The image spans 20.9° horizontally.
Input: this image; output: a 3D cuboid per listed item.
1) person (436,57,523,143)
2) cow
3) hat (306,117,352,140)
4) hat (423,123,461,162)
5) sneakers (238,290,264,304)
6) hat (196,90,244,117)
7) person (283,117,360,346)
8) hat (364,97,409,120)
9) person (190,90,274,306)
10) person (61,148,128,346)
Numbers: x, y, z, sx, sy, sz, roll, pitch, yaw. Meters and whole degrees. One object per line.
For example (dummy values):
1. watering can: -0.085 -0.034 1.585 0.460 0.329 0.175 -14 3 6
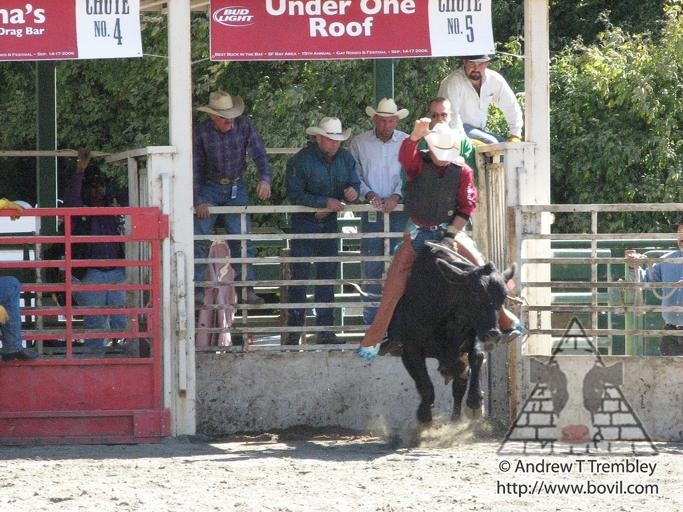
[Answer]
1. person: 1.858 -2.161 25.109 1.110 1.318 1.147 4 13 21
2. cow: 1.386 0.982 23.537 1.522 2.359 0.622 1 5 30
3. hat: -0.232 -1.692 24.963 0.386 0.173 0.414 10 -10 -33
4. hat: 1.283 -1.444 23.446 0.400 0.477 0.183 -20 4 -13
5. sneakers: -1.214 0.542 24.552 0.433 0.182 0.146 1 6 -7
6. hat: -1.575 -2.030 24.858 0.392 0.363 0.587 2 6 42
7. person: -0.278 -0.333 24.976 1.038 3.077 0.871 -2 4 -2
8. hat: 0.604 -2.004 25.392 0.369 0.158 0.405 3 -6 -3
9. person: -1.492 -0.797 24.844 1.100 2.820 0.834 -2 4 -14
10. person: -3.355 -0.106 25.300 0.792 2.716 1.315 -2 4 -10
